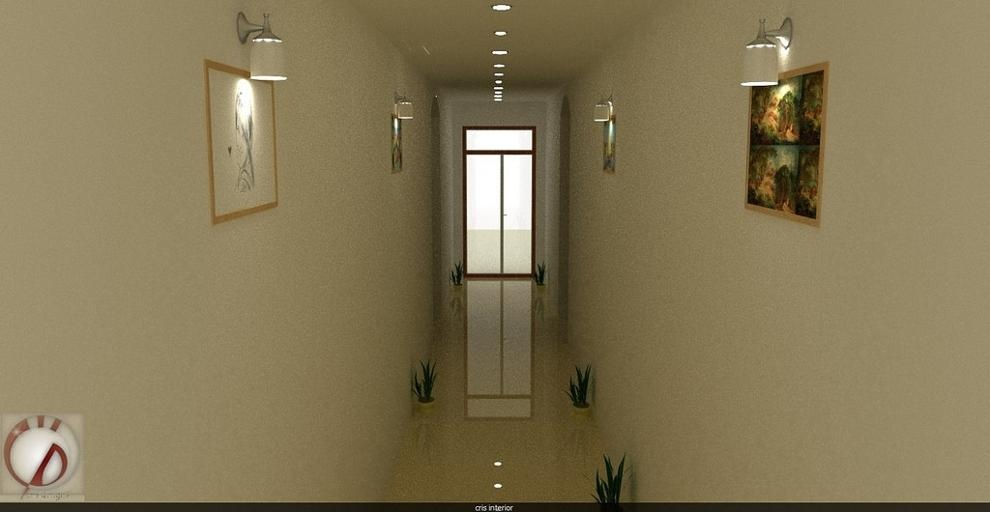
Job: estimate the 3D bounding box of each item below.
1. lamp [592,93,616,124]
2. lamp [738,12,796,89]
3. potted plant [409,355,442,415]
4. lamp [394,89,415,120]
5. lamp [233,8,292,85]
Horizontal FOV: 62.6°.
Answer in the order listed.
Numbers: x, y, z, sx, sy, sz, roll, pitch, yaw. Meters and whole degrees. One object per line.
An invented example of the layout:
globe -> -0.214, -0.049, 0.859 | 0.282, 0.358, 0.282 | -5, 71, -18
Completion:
lamp -> 0.853, -1.129, 6.267 | 0.207, 0.308, 0.189 | 2, 3, 2
lamp -> 1.201, -0.914, 3.637 | 0.207, 0.265, 0.162 | -5, 13, -17
potted plant -> -0.607, 1.146, 7.135 | 0.373, 0.478, 0.346 | 0, -2, 0
lamp -> -0.726, -1.181, 6.452 | 0.162, 0.211, 0.247 | -1, 2, -2
lamp -> -1.057, -0.970, 3.765 | 0.235, 0.268, 0.168 | 5, 12, 16
